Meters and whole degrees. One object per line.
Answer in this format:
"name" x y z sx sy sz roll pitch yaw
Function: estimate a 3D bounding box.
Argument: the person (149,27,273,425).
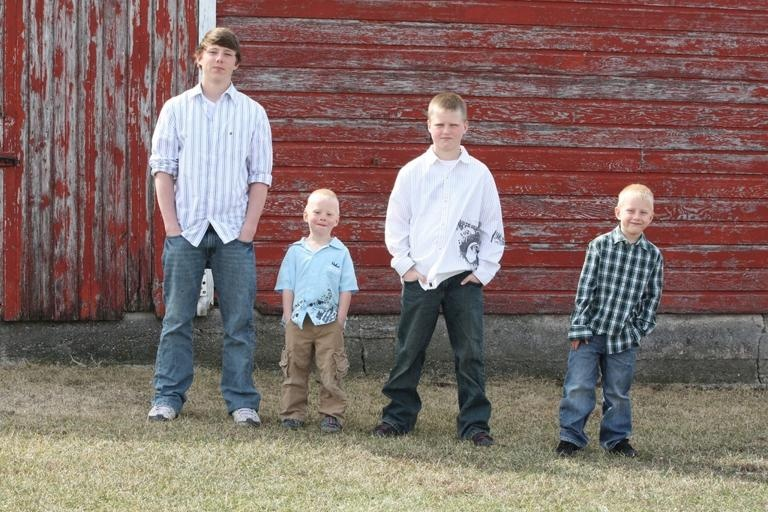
"person" -1.103 -0.198 7.750 0.759 2.457 0.451 2 6 -6

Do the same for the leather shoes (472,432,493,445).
"leather shoes" 0.620 1.144 7.632 0.145 0.068 0.125 2 5 -2

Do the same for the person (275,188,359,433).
"person" -0.432 0.339 7.794 0.515 1.488 0.476 3 6 -2

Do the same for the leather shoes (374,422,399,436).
"leather shoes" 0.022 1.089 7.689 0.143 0.050 0.070 7 9 -29

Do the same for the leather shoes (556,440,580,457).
"leather shoes" 1.157 1.191 7.586 0.180 0.078 0.129 1 5 -9

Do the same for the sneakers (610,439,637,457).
"sneakers" 1.494 1.209 7.625 0.220 0.074 0.074 -3 -5 25

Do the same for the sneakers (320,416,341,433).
"sneakers" -0.322 1.058 7.683 0.119 0.084 0.114 2 5 -4

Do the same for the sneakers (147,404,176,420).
"sneakers" -1.375 0.982 7.689 0.180 0.083 0.134 1 5 -8

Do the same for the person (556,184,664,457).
"person" 1.429 0.400 7.655 0.563 1.660 0.499 4 6 10

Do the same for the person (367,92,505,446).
"person" 0.377 0.077 7.701 0.749 2.164 0.457 3 6 0
